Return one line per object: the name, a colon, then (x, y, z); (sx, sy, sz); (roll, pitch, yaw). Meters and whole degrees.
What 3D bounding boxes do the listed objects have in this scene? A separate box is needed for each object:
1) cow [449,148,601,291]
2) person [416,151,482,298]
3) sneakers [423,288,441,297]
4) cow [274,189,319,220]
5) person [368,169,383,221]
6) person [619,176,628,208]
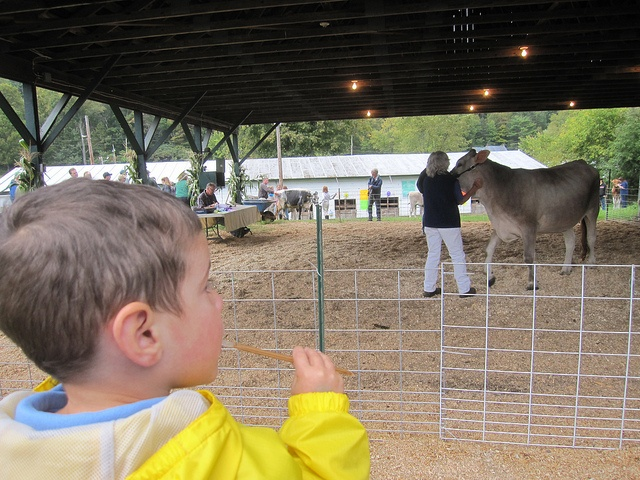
cow: (3.139, -0.243, 9.936); (2.532, 2.119, 0.714); (-2, 8, -13)
person: (1.774, -0.204, 9.065); (0.770, 2.038, 1.283); (-3, 7, 9)
sneakers: (1.570, 0.744, 9.121); (0.264, 0.129, 0.099); (-4, 7, 3)
cow: (-0.802, -1.176, 22.136); (1.398, 1.020, 0.499); (1, 4, -6)
person: (1.552, -1.272, 18.692); (0.421, 1.518, 1.419); (-4, 8, 5)
person: (10.153, -1.507, 21.707); (0.224, 0.920, 1.307); (-1, 9, 26)
